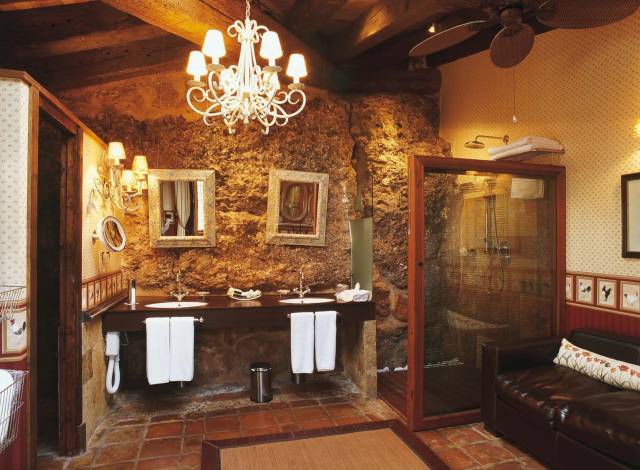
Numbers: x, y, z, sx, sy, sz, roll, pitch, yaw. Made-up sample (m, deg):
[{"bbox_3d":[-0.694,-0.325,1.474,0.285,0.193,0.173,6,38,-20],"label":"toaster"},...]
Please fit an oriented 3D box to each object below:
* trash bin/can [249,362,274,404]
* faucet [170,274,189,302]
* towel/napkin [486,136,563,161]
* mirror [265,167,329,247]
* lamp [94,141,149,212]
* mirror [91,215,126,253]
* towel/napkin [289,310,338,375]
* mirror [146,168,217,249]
[{"bbox_3d":[-0.607,1.523,4.852,0.258,0.336,0.344,2,6,22],"label":"trash bin/can"},{"bbox_3d":[-1.484,0.536,4.966,0.190,0.281,0.312,-3,8,-18],"label":"faucet"},{"bbox_3d":[1.956,-0.824,4.444,0.364,0.110,0.345,-3,0,-26],"label":"towel/napkin"},{"bbox_3d":[-0.304,-0.336,5.359,0.926,1.072,0.113,3,-1,-18],"label":"mirror"},{"bbox_3d":[-1.939,-0.565,4.630,0.364,0.704,0.774,-1,7,-4],"label":"lamp"},{"bbox_3d":[-2.020,-0.010,4.462,0.202,0.345,0.366,-5,0,13],"label":"mirror"},{"bbox_3d":[-0.063,1.077,4.787,0.487,0.618,0.181,-1,8,-7],"label":"towel/napkin"},{"bbox_3d":[-1.525,-0.302,5.034,0.916,1.058,0.107,0,0,-14],"label":"mirror"}]
